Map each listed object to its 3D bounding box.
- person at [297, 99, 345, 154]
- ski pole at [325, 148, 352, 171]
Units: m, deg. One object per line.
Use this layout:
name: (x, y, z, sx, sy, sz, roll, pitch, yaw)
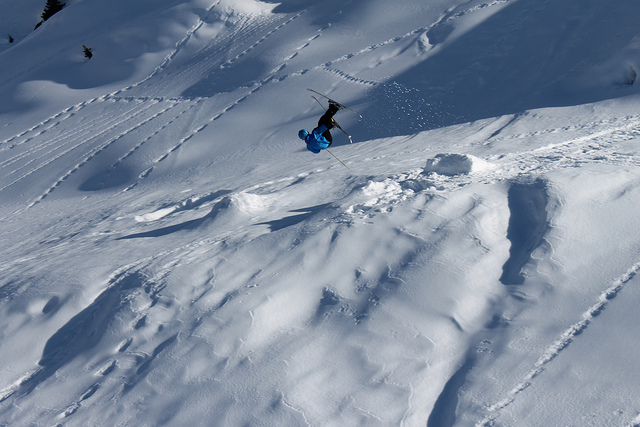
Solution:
person: (0.201, -2.219, 18.665, 1.509, 0.516, 1.104, -41, 85, 13)
ski pole: (0.611, -1.703, 22.755, 1.522, 0.058, 0.040, 35, 112, 19)
